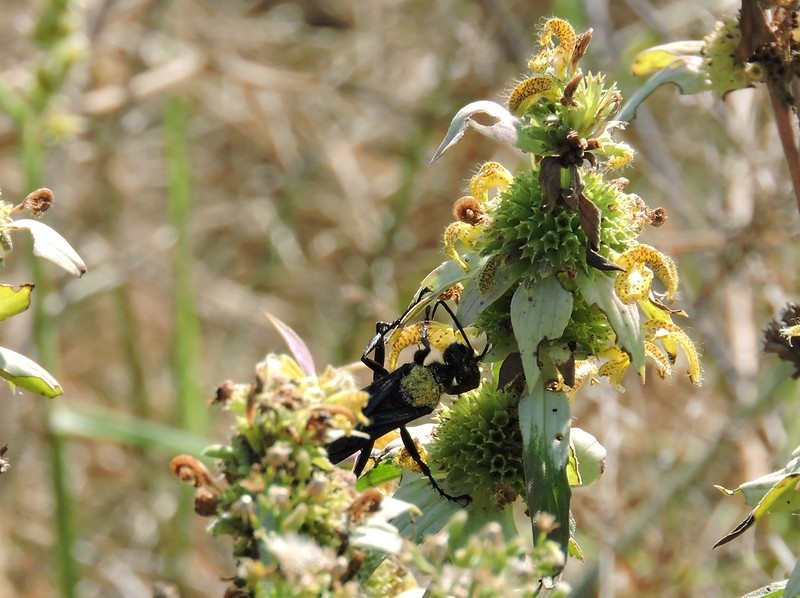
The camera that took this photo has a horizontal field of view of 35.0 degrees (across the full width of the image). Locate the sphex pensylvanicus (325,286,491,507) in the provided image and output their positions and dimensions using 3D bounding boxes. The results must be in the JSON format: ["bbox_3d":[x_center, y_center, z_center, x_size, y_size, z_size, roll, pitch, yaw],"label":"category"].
[{"bbox_3d":[0.028,0.277,3.844,0.609,0.458,0.203,-43,-4,13],"label":"sphex pensylvanicus"}]
